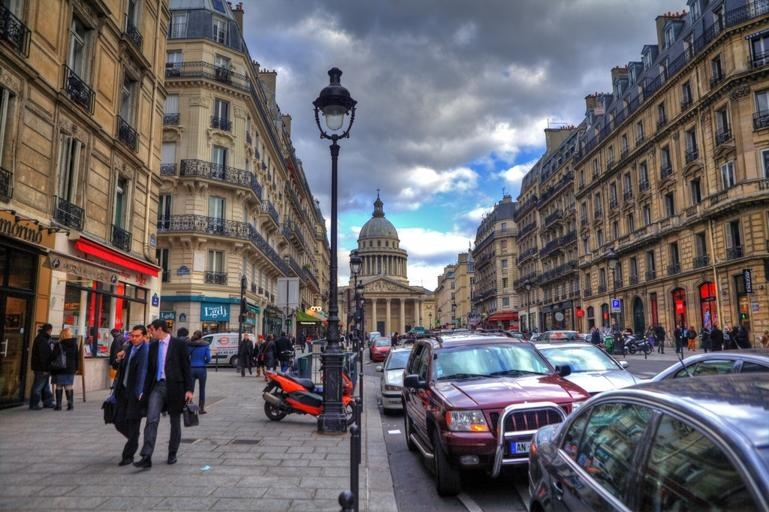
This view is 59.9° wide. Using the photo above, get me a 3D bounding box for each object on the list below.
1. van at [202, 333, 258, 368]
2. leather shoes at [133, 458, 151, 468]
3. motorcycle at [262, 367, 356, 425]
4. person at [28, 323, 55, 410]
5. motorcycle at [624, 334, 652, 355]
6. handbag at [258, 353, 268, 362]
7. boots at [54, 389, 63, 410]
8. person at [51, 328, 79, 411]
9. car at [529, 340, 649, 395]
[{"bbox_3d":[-7.740,4.716,35.546,3.656,2.089,2.586,3,-6,-16],"label":"van"},{"bbox_3d":[-4.920,4.225,13.613,0.351,0.194,0.286,1,-13,-8],"label":"leather shoes"},{"bbox_3d":[-1.972,3.803,18.002,2.374,1.590,1.171,1,-5,1],"label":"motorcycle"},{"bbox_3d":[-9.510,3.090,18.638,0.629,2.339,1.067,5,-13,-26],"label":"person"},{"bbox_3d":[14.293,5.048,37.749,1.770,1.151,0.914,1,-9,2],"label":"motorcycle"},{"bbox_3d":[-5.215,4.418,28.898,0.271,0.329,0.687,3,-14,-17],"label":"handbag"},{"bbox_3d":[-9.032,3.989,18.534,0.192,0.587,0.397,5,-14,-26],"label":"boots"},{"bbox_3d":[-8.928,3.158,18.611,0.653,2.246,0.760,5,-13,-26],"label":"person"},{"bbox_3d":[5.028,2.727,16.428,1.186,0.956,2.721,0,-10,-9],"label":"car"}]
